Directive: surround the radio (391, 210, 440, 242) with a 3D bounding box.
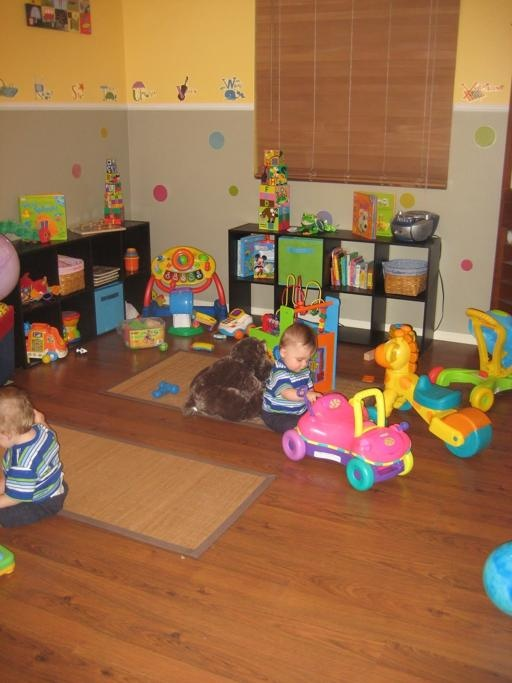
[{"bbox_3d":[1.063,-0.778,3.669,0.267,0.210,0.295,8,15,27],"label":"radio"}]

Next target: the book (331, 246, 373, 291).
[{"bbox_3d":[0.724,-0.572,4.073,0.288,0.363,0.385,4,12,18],"label":"book"}]

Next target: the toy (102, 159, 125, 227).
[{"bbox_3d":[-1.149,-1.182,4.317,0.140,0.495,0.426,-3,14,-16],"label":"toy"}]

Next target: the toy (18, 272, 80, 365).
[{"bbox_3d":[-1.403,-0.122,3.579,0.129,0.476,0.526,3,11,18],"label":"toy"}]

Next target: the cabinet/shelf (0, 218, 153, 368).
[{"bbox_3d":[-1.268,-0.318,3.732,0.267,0.618,1.012,9,23,22],"label":"cabinet/shelf"}]

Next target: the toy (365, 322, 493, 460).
[{"bbox_3d":[0.905,0.266,2.807,0.199,0.426,0.525,-22,34,-32],"label":"toy"}]

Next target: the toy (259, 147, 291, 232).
[{"bbox_3d":[0.156,-1.119,4.044,0.250,0.579,0.206,-4,14,-20],"label":"toy"}]

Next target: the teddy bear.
[{"bbox_3d":[-0.122,0.192,2.994,0.476,0.248,0.598,12,36,18],"label":"teddy bear"}]

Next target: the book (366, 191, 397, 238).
[{"bbox_3d":[0.865,-0.869,3.764,0.052,0.349,0.303,-14,20,-43],"label":"book"}]

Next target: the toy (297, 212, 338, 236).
[{"bbox_3d":[0.456,-0.866,4.077,0.219,0.125,0.281,1,27,2],"label":"toy"}]

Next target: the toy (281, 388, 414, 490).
[{"bbox_3d":[0.406,0.360,2.333,0.325,0.420,0.504,-11,18,-42],"label":"toy"}]

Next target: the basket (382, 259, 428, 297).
[{"bbox_3d":[1.032,-0.439,3.744,0.261,0.187,0.295,7,18,26],"label":"basket"}]

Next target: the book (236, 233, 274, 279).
[{"bbox_3d":[0.061,-0.653,4.390,0.305,0.416,0.441,5,11,24],"label":"book"}]
